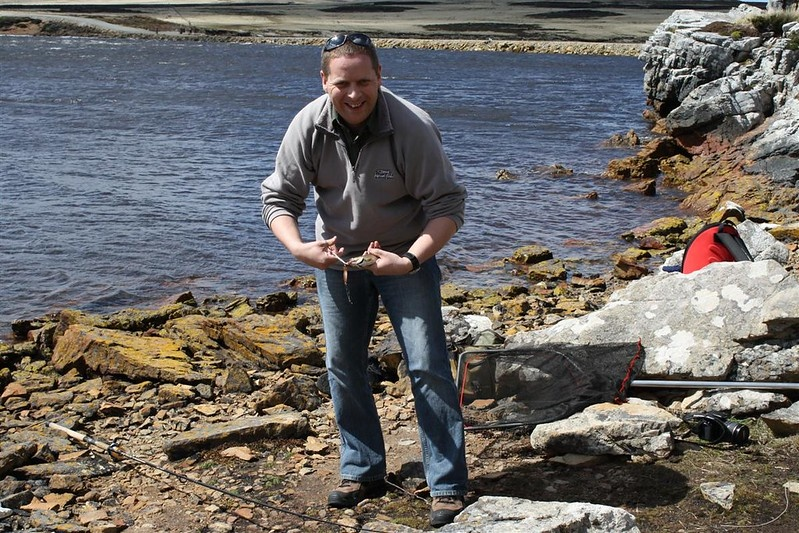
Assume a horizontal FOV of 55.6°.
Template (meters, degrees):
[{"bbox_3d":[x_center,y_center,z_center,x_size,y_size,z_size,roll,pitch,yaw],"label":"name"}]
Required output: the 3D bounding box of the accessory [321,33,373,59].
[{"bbox_3d":[-0.390,-1.691,5.748,0.390,0.150,0.262,-2,17,-4],"label":"accessory"}]

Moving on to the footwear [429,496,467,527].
[{"bbox_3d":[0.370,1.884,5.895,0.270,0.195,0.287,-1,17,2],"label":"footwear"}]

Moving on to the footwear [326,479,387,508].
[{"bbox_3d":[-0.357,1.844,6.211,0.563,0.167,0.173,2,3,-30],"label":"footwear"}]

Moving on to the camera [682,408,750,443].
[{"bbox_3d":[2.715,1.374,6.525,0.431,0.135,0.293,7,13,29],"label":"camera"}]

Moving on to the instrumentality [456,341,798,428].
[{"bbox_3d":[1.620,1.140,7.206,2.902,0.288,0.980,0,19,11],"label":"instrumentality"}]

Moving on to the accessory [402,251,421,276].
[{"bbox_3d":[0.095,-0.025,5.760,0.149,0.179,0.127,-4,20,-6],"label":"accessory"}]

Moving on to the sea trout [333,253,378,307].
[{"bbox_3d":[-0.315,0.092,5.865,0.316,0.466,0.209,-1,22,4],"label":"sea trout"}]

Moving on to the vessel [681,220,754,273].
[{"bbox_3d":[3.555,-0.196,8.595,0.701,0.534,0.614,-3,18,-3],"label":"vessel"}]
